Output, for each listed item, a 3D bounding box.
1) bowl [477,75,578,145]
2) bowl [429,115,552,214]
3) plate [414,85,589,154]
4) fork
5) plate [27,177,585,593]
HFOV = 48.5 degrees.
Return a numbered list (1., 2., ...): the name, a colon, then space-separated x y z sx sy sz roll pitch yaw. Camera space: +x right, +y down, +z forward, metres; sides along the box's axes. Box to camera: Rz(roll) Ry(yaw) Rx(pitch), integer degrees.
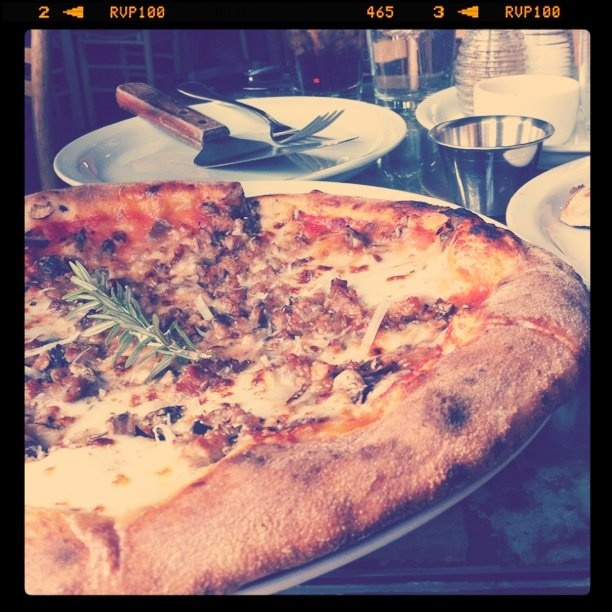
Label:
1. bowl: 0.262 -0.235 0.831 0.118 0.053 0.103 -3 21 -1
2. bowl: 0.208 -0.160 0.791 0.153 0.082 0.121 -4 35 2
3. plate: 0.257 -0.240 0.851 0.174 0.014 0.142 -12 30 -6
4. fork: -0.061 -0.263 0.934 0.304 0.052 0.051 24 47 34
5. plate: -0.015 0.028 0.683 0.566 0.315 0.401 -9 18 -4
